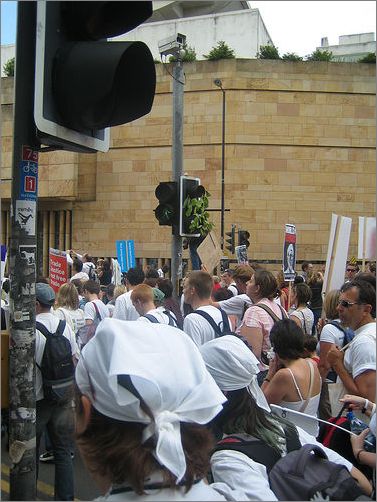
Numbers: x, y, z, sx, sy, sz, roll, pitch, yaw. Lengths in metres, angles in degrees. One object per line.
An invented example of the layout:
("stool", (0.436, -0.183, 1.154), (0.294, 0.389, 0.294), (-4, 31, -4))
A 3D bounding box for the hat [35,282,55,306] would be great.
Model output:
("hat", (-0.993, 0.285, 5.546), (0.115, 0.094, 0.154), (12, 21, -43))

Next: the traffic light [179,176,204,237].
("traffic light", (0.025, -0.477, 8.387), (0.343, 0.618, 0.407), (-11, -2, 1))

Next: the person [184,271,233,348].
("person", (0.139, 0.435, 6.010), (0.340, 0.881, 0.283), (14, -20, -42))

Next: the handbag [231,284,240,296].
("handbag", (0.550, 0.458, 9.635), (0.114, 0.164, 0.082), (3, -5, -38))

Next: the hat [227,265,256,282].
("hat", (0.558, 0.206, 8.078), (0.138, 0.186, 0.177), (-3, 11, -27))

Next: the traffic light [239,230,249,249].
("traffic light", (1.518, -0.359, 22.006), (0.284, 0.480, 1.019), (-11, -2, 3))

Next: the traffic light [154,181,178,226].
("traffic light", (-0.221, -0.498, 8.378), (0.281, 0.455, 0.330), (-11, -2, -3))

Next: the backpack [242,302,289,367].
("backpack", (0.505, 0.558, 5.343), (0.211, 0.435, 0.400), (-3, -5, 41))

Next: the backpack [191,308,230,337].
("backpack", (0.181, 0.505, 5.854), (0.213, 0.250, 0.245), (-1, 7, 7))

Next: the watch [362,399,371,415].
("watch", (0.942, 0.830, 4.282), (0.029, 0.071, 0.048), (1, -5, -7))

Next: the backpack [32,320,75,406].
("backpack", (-0.872, 0.709, 5.214), (0.257, 0.544, 0.229), (-5, 3, -31))

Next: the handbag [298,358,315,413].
("handbag", (0.664, 0.797, 4.714), (0.048, 0.221, 0.216), (-11, -25, -2))
